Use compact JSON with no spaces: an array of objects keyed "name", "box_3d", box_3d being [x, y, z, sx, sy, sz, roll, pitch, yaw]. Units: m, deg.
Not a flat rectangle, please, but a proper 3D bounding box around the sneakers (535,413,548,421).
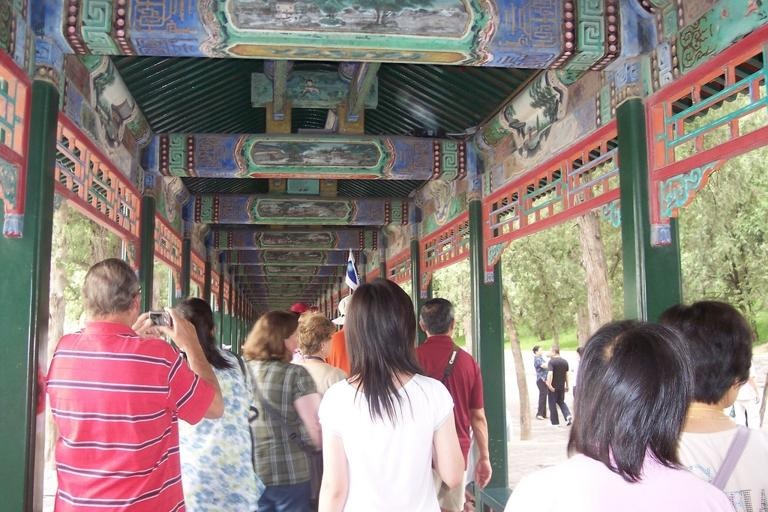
[{"name":"sneakers","box_3d":[3.005,3.083,13.339,0.099,0.086,0.244,-15,6,-24]}]
